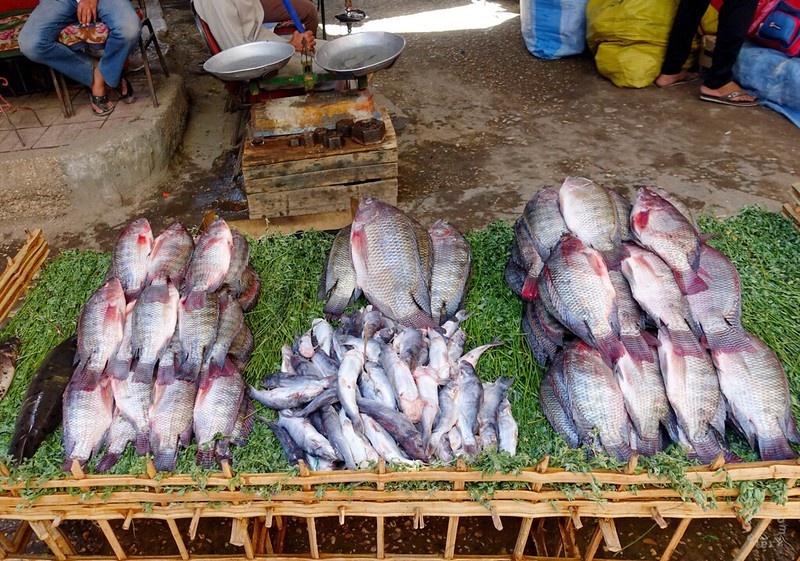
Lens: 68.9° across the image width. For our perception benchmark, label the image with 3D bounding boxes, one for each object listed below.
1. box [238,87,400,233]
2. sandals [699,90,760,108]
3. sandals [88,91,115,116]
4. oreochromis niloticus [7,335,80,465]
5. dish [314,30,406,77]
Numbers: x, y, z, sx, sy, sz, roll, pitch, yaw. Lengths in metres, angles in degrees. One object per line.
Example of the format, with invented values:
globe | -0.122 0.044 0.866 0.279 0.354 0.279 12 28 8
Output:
box | -0.811 -1.273 5.524 1.349 0.725 1.339 -4 35 -5
sandals | 3.875 -2.190 6.829 0.544 0.150 0.219 8 32 19
sandals | -3.289 -2.002 6.428 0.157 0.106 0.391 -23 60 -30
oreochromis niloticus | -2.120 0.690 3.597 0.309 0.185 0.787 -23 30 20
dish | -0.446 -2.181 5.484 0.630 0.101 0.666 12 46 25
